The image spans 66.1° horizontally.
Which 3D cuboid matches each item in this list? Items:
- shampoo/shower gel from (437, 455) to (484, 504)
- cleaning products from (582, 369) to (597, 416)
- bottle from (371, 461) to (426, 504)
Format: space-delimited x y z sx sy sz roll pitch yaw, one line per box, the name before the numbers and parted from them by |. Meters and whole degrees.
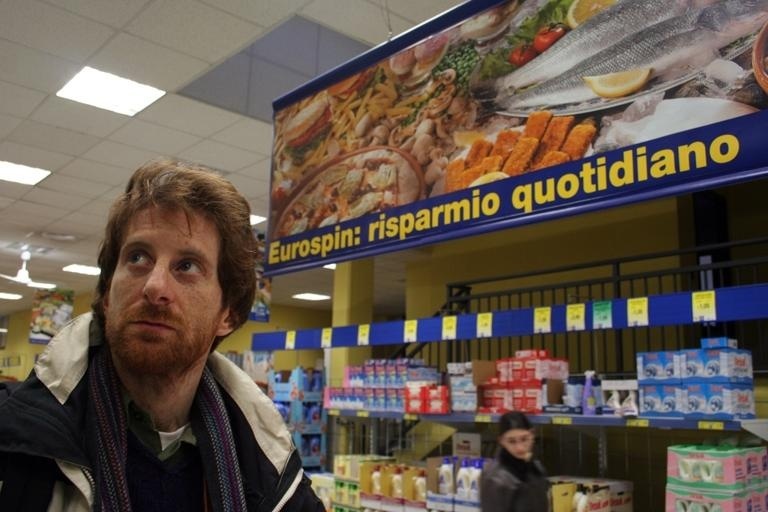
shampoo/shower gel | 0.578 1.726 4.506 0.251 0.573 0.081 -8 -17 31
cleaning products | 1.400 0.948 4.071 0.102 0.299 0.248 -5 -15 18
bottle | 0.115 1.898 4.935 0.162 0.269 0.606 11 -18 -38
